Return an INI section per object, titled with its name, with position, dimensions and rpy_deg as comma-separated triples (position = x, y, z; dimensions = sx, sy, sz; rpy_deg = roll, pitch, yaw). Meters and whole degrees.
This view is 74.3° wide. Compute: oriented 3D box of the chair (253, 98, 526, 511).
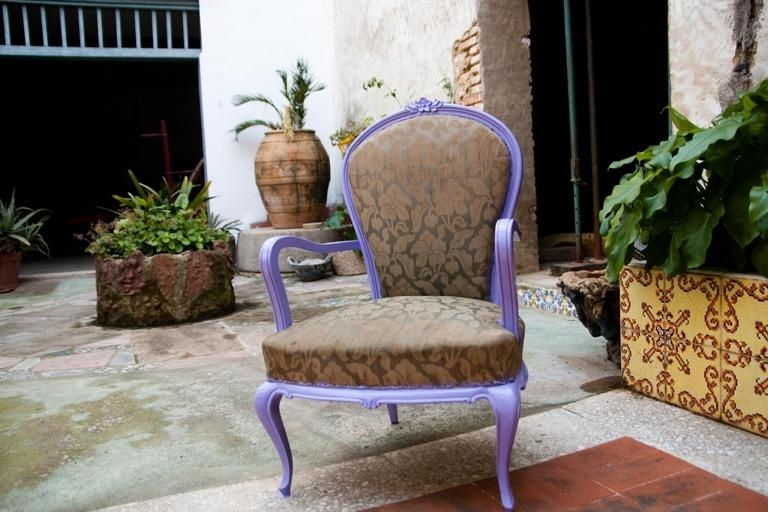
[chair]
position = 0.058, 0.105, 2.064
dimensions = 0.994, 1.510, 0.862
rpy_deg = 0, 13, 15

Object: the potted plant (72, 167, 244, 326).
[potted plant]
position = -1.973, -0.007, 4.808
dimensions = 1.446, 1.477, 1.457
rpy_deg = 2, 5, 35
